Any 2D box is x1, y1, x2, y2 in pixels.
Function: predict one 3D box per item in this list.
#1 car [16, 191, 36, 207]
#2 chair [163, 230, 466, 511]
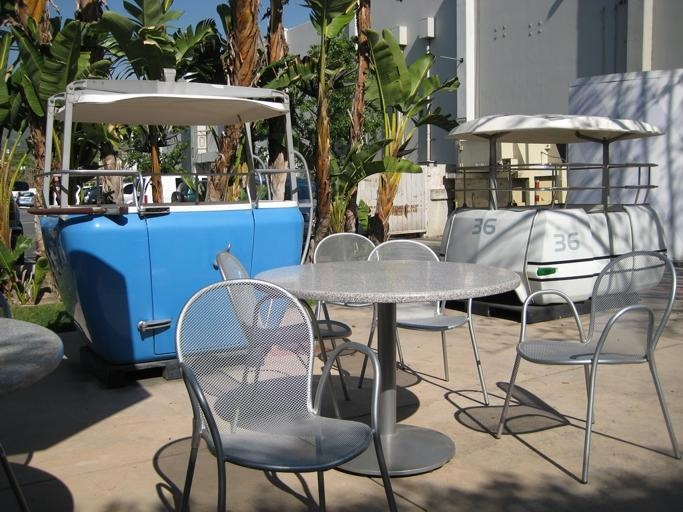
[{"bbox_3d":[-18.585,-3.475,38.886,0.770,0.936,3.641,-8,14,-26],"label":"car"},{"bbox_3d":[-0.156,0.861,4.625,1.363,2.344,1.444,3,-12,-31],"label":"chair"}]
